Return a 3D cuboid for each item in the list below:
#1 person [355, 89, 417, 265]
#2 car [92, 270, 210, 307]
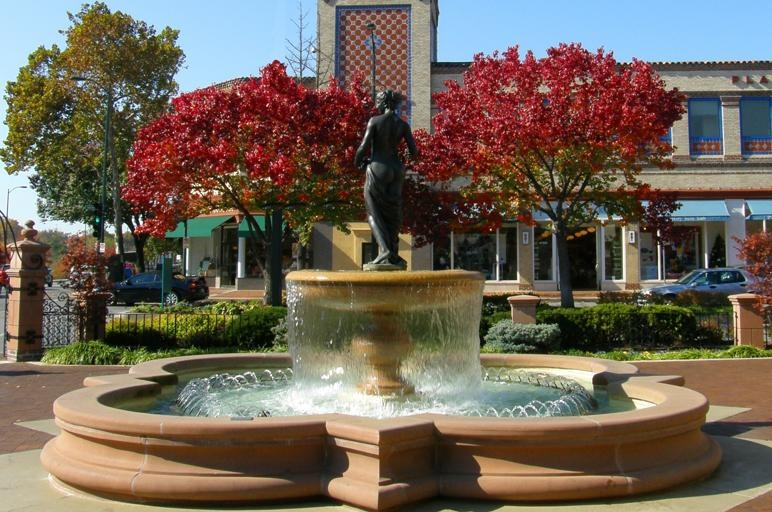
[{"bbox_3d":[0.003,-1.490,14.844,1.080,3.344,1.038,-3,5,1],"label":"person"},{"bbox_3d":[-9.755,1.425,34.482,3.974,1.337,1.871,1,-4,4],"label":"car"}]
